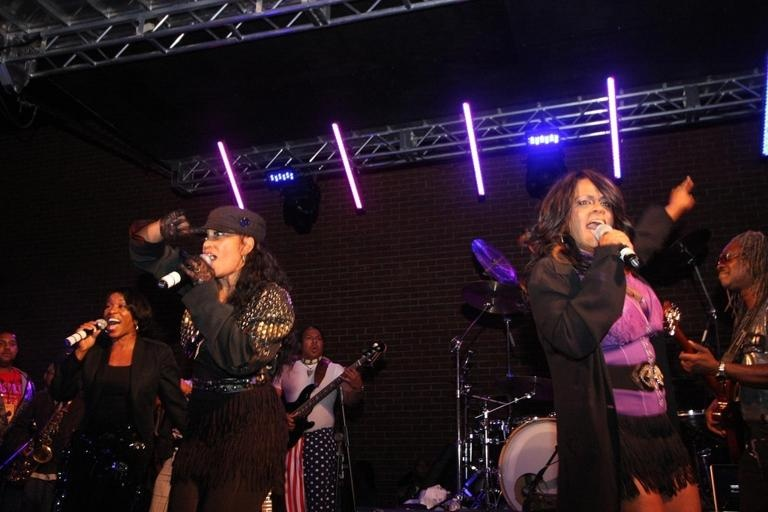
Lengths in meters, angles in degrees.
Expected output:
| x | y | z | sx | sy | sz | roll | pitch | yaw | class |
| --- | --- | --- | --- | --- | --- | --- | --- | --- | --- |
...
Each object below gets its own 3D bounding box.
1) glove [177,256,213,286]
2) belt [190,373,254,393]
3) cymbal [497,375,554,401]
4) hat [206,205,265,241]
| x | y | z | sx | sy | sz | roll | pitch | yaw | class |
| --- | --- | --- | --- | --- | --- | --- | --- | --- | --- |
| -1.250 | 0.094 | 4.277 | 0.172 | 0.224 | 0.091 | 19 | -59 | 8 | glove |
| -1.053 | 0.841 | 4.204 | 0.427 | 0.110 | 0.075 | -4 | -18 | 5 | belt |
| 1.574 | 1.472 | 7.226 | 0.553 | 0.125 | 0.565 | -13 | -46 | 25 | cymbal |
| -1.038 | -0.217 | 4.503 | 0.341 | 0.170 | 0.248 | 3 | 1 | -38 | hat |
